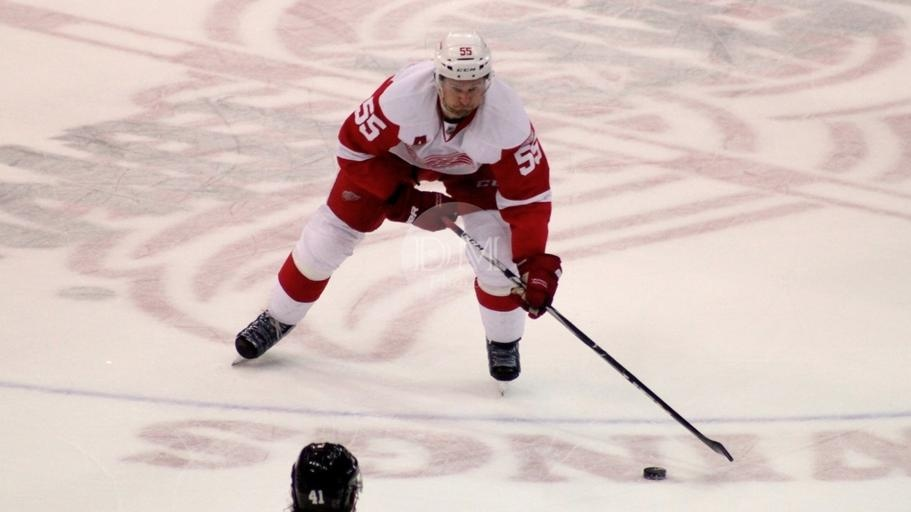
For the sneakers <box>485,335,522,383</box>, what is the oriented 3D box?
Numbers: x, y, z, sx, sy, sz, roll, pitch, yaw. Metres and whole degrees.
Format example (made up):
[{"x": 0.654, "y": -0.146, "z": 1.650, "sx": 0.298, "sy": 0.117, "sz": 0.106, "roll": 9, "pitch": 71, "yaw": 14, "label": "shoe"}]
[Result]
[{"x": 0.332, "y": 0.707, "z": 6.979, "sx": 0.260, "sy": 0.265, "sz": 0.137, "roll": -2, "pitch": -14, "yaw": -6, "label": "sneakers"}]

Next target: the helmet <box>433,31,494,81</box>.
[{"x": 0.030, "y": -1.270, "z": 6.500, "sx": 0.390, "sy": 0.371, "sz": 0.275, "roll": -4, "pitch": -77, "yaw": -3, "label": "helmet"}]

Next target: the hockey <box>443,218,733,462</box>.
[{"x": 0.903, "y": 0.649, "z": 7.144, "sx": 3.285, "sy": 0.248, "sz": 0.059, "roll": 28, "pitch": -67, "yaw": 11, "label": "hockey"}]
